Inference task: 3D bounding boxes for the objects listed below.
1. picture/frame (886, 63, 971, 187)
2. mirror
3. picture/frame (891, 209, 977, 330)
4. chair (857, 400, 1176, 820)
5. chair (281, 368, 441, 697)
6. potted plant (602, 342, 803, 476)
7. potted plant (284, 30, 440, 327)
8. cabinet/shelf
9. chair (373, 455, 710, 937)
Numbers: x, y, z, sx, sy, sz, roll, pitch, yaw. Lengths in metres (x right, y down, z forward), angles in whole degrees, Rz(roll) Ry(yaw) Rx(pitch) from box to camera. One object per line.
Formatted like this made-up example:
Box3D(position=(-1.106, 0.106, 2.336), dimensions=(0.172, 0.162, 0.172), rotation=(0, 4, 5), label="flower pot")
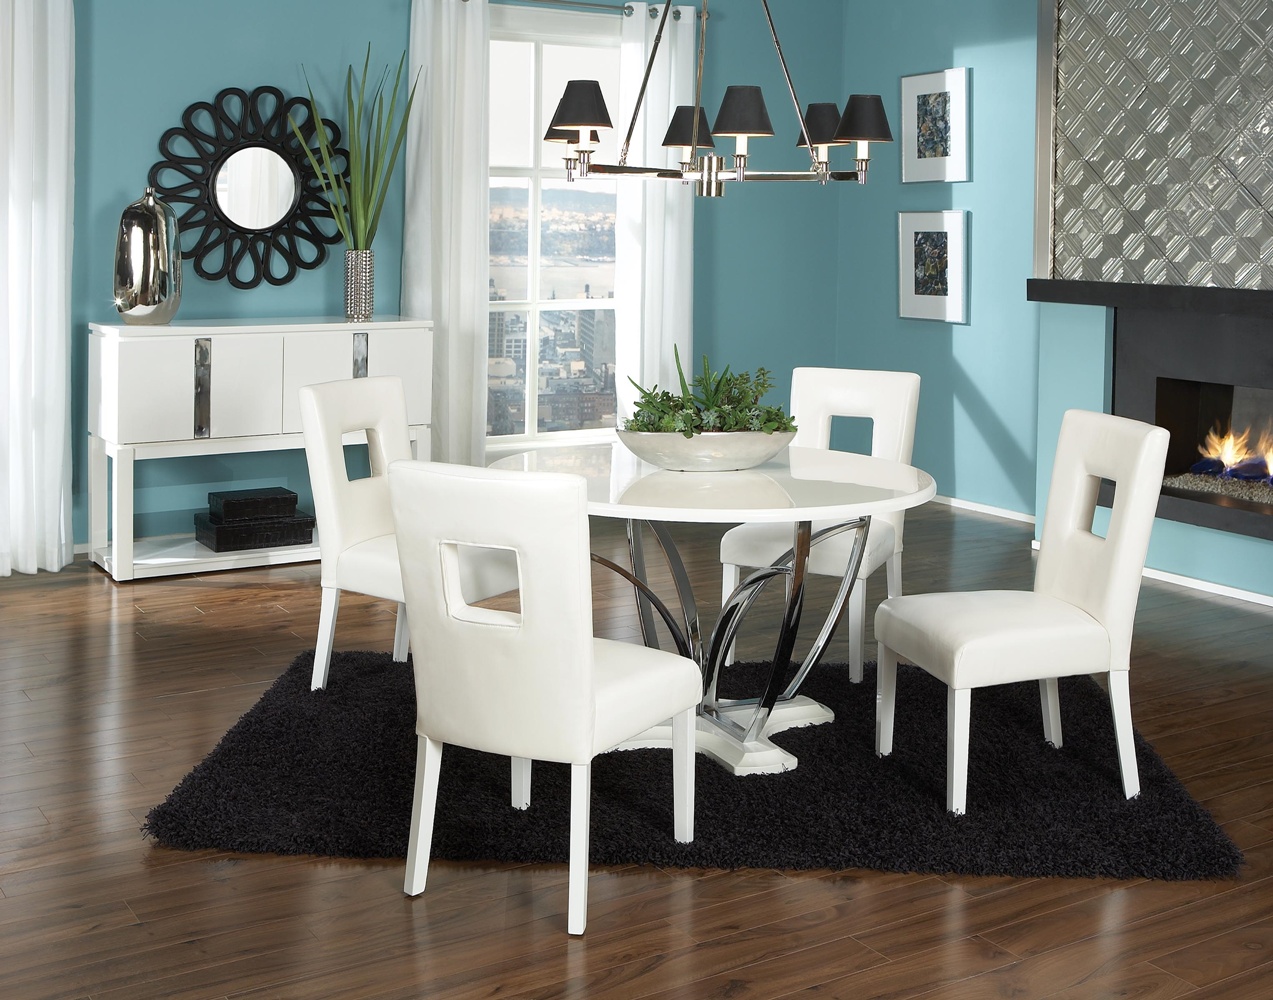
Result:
Box3D(position=(1.772, -2.217, 5.844), dimensions=(0.065, 0.654, 0.549), rotation=(-6, 12, -29), label="picture/frame")
Box3D(position=(-1.979, -1.591, 4.908), dimensions=(1.121, 1.171, 0.041), rotation=(-1, 14, -26), label="mirror")
Box3D(position=(1.814, -1.397, 5.906), dimensions=(0.053, 0.871, 0.665), rotation=(-7, 11, -34), label="picture/frame")
Box3D(position=(1.014, 0.259, 2.647), dimensions=(0.658, 0.986, 0.625), rotation=(-3, 7, -23), label="chair")
Box3D(position=(-0.768, 0.120, 3.298), dimensions=(0.608, 0.887, 0.618), rotation=(-6, 17, -27), label="chair")
Box3D(position=(0.148, -0.215, 2.802), dimensions=(0.401, 0.245, 0.368), rotation=(-1, 6, -14), label="potted plant")
Box3D(position=(-1.462, -1.515, 5.042), dimensions=(0.516, 1.108, 0.509), rotation=(5, 11, 17), label="potted plant")
Box3D(position=(-1.867, -0.331, 4.966), dimensions=(1.564, 1.167, 0.489), rotation=(-9, 19, -44), label="cabinet/shelf")
Box3D(position=(-0.194, 0.385, 2.231), dimensions=(0.494, 0.991, 0.620), rotation=(3, 7, 24), label="chair")
